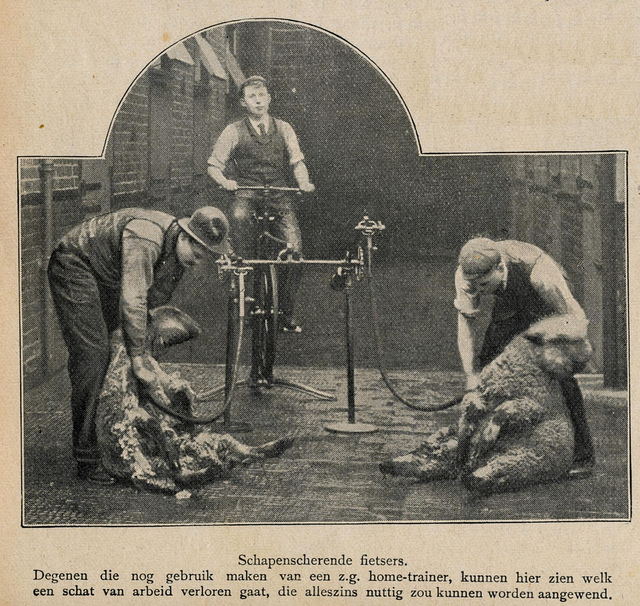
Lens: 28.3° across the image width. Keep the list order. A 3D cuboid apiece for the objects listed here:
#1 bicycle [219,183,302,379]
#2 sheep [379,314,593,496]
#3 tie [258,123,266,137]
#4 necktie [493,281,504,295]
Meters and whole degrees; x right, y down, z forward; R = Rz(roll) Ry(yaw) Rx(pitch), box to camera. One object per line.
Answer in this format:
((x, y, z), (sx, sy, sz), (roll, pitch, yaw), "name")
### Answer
((-0.376, -0.026, 7.833), (0.458, 0.838, 0.909), (-3, -2, -10), "bicycle")
((1.090, 0.698, 7.799), (0.806, 0.788, 1.933), (11, 18, 28), "sheep")
((-0.352, -1.041, 7.632), (0.045, 0.067, 0.005), (0, 6, 1), "tie")
((1.065, -0.084, 7.646), (0.020, 0.069, 0.049), (33, 6, 37), "necktie")
